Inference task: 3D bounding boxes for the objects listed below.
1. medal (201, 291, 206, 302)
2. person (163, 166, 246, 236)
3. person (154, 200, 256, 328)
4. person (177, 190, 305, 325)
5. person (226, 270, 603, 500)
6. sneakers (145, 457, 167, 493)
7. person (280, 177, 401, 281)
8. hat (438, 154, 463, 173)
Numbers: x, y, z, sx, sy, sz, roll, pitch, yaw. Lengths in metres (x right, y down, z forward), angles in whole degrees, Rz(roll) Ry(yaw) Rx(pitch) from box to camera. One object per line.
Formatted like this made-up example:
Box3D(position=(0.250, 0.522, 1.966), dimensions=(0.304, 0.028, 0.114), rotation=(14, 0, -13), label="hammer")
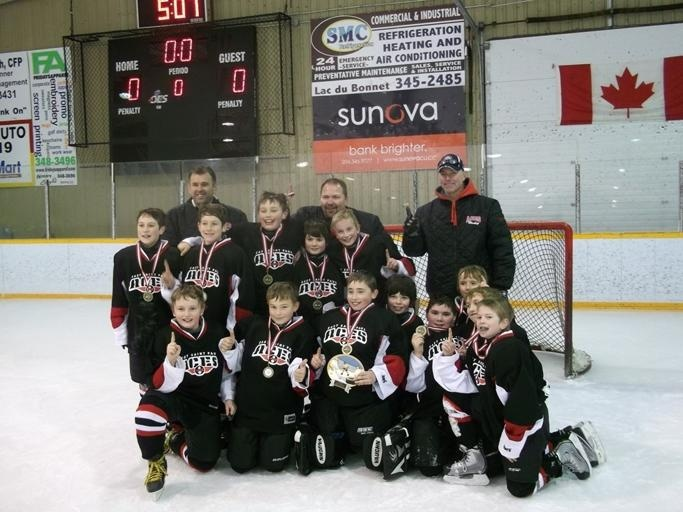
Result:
Box3D(position=(-1.100, 0.327, 5.269), dimensions=(0.061, 0.085, 0.049), rotation=(-1, -2, 4), label="medal")
Box3D(position=(-1.352, -0.435, 6.513), dimensions=(0.968, 0.884, 0.536), rotation=(-5, 4, -23), label="person")
Box3D(position=(-1.164, 0.159, 5.559), dimensions=(0.641, 1.181, 0.526), rotation=(5, 23, -3), label="person")
Box3D(position=(-0.858, 0.051, 5.583), dimensions=(1.015, 1.375, 0.385), rotation=(3, -13, -3), label="person")
Box3D(position=(1.197, 0.971, 4.924), dimensions=(1.407, 1.413, 0.670), rotation=(4, 14, 22), label="person")
Box3D(position=(-1.383, 1.627, 4.875), dimensions=(0.140, 0.209, 0.194), rotation=(-3, 13, -6), label="sneakers")
Box3D(position=(0.077, -0.290, 6.688), dimensions=(1.331, 0.846, 0.504), rotation=(4, 7, 20), label="person")
Box3D(position=(0.996, -0.837, 5.834), dimensions=(0.166, 0.150, 0.250), rotation=(1, -12, 30), label="hat")
